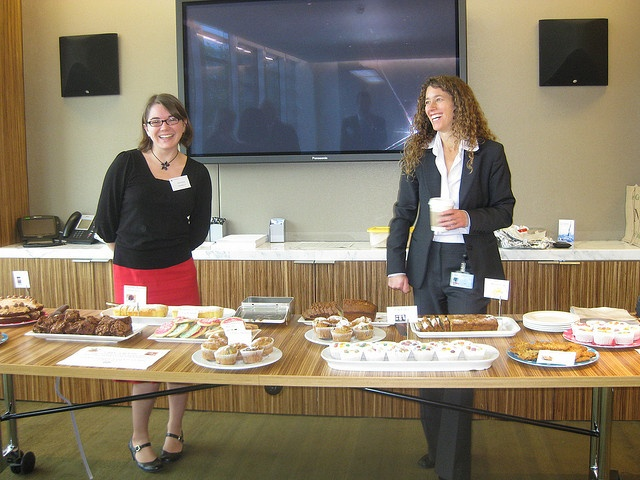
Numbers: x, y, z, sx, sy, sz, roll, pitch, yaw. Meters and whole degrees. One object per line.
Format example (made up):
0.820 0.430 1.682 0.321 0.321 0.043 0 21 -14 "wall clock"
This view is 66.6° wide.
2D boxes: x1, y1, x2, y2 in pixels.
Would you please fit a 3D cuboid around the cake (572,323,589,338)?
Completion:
1.105 0.376 2.068 0.058 0.034 0.058 2 7 34 "cake"

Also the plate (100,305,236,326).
-0.692 0.359 2.377 0.392 0.041 0.227 0 2 10 "plate"

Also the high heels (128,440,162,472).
-1.025 1.220 2.829 0.272 0.110 0.106 7 3 40 "high heels"

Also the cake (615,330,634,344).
1.252 0.403 2.007 0.064 0.031 0.063 0 3 14 "cake"

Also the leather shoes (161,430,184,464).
-0.864 1.223 2.850 0.076 0.080 0.208 0 -3 -8 "leather shoes"

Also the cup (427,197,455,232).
0.562 -0.113 2.294 0.118 0.169 0.081 6 13 30 "cup"

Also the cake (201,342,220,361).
-0.437 0.440 1.939 0.065 0.047 0.068 2 3 -3 "cake"

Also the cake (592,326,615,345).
1.179 0.394 2.021 0.068 0.042 0.067 0 -1 -4 "cake"

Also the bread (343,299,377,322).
0.188 0.313 2.340 0.138 0.076 0.100 2 4 6 "bread"

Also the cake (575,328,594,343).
1.102 0.400 2.035 0.056 0.030 0.054 -5 5 -44 "cake"

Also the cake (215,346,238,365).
-0.361 0.445 1.882 0.070 0.049 0.068 2 -4 -4 "cake"

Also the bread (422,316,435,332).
0.484 0.376 2.188 0.051 0.014 0.055 -5 36 -2 "bread"

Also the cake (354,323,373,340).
0.187 0.392 2.105 0.065 0.045 0.068 0 -4 -3 "cake"

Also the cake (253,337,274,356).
-0.223 0.425 1.959 0.071 0.043 0.071 0 -5 -2 "cake"

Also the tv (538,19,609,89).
1.860 -1.374 3.554 0.513 0.489 0.052 1 2 9 "tv"

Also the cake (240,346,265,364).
-0.266 0.446 1.896 0.071 0.040 0.071 -8 -8 35 "cake"

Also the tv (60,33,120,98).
-1.828 -1.408 3.896 0.517 0.492 0.050 0 3 4 "tv"

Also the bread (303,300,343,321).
0.008 0.335 2.322 0.139 0.044 0.098 -3 3 10 "bread"

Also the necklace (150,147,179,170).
-0.856 -0.443 2.662 0.097 0.119 0.047 -2 -7 -11 "necklace"

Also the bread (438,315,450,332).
0.559 0.363 2.194 0.036 0.017 0.054 -3 17 -2 "bread"
